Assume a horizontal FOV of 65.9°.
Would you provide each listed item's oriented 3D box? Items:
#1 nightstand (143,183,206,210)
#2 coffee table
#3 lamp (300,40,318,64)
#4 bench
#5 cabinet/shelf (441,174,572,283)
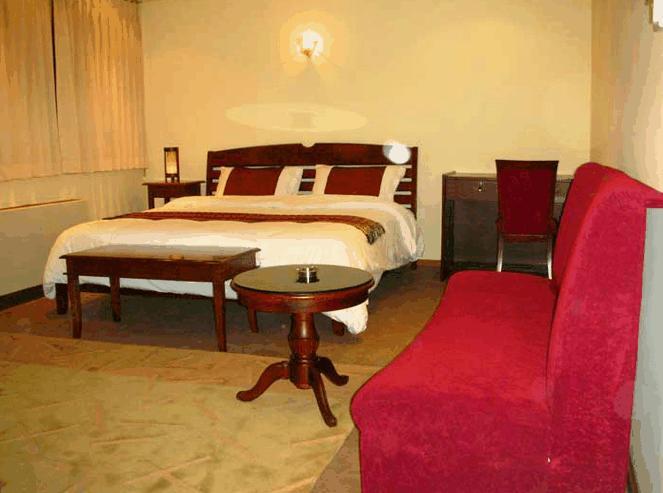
[{"bbox_3d":[-1.809,-0.615,5.877,0.442,0.424,0.472,4,8,30],"label":"nightstand"},{"bbox_3d":[-0.093,0.437,2.601,0.775,0.614,0.748,1,5,12],"label":"coffee table"},{"bbox_3d":[-0.243,-2.136,5.555,0.180,0.222,0.085,5,6,-1],"label":"lamp"},{"bbox_3d":[-1.125,0.321,3.415,1.190,0.598,0.407,3,14,15],"label":"bench"},{"bbox_3d":[1.492,-0.188,4.367,1.195,0.978,0.478,0,4,22],"label":"cabinet/shelf"}]
